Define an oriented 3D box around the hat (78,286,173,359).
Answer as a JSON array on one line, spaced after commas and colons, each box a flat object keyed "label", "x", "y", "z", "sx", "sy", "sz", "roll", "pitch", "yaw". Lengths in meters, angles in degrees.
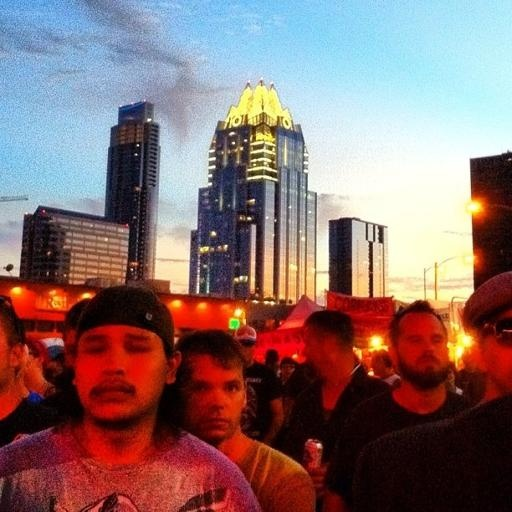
[{"label": "hat", "x": -0.404, "y": 0.214, "z": 1.884, "sx": 0.341, "sy": 0.238, "sz": 0.376, "roll": -5, "pitch": -6, "yaw": 19}]
